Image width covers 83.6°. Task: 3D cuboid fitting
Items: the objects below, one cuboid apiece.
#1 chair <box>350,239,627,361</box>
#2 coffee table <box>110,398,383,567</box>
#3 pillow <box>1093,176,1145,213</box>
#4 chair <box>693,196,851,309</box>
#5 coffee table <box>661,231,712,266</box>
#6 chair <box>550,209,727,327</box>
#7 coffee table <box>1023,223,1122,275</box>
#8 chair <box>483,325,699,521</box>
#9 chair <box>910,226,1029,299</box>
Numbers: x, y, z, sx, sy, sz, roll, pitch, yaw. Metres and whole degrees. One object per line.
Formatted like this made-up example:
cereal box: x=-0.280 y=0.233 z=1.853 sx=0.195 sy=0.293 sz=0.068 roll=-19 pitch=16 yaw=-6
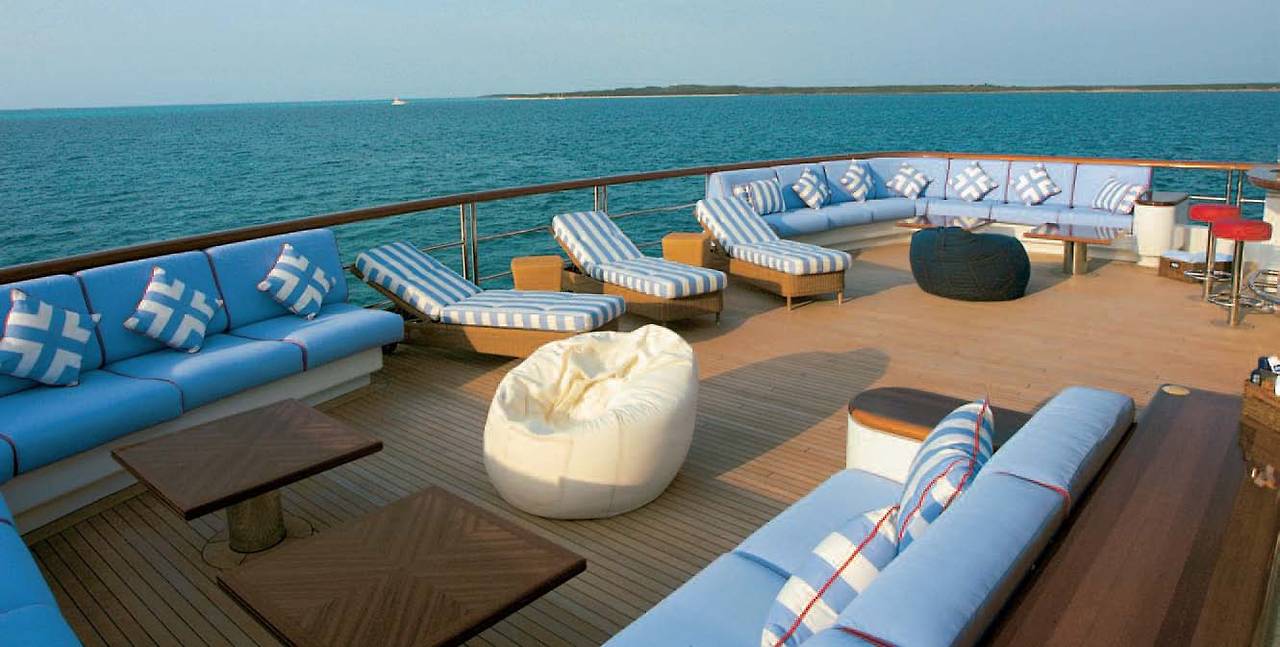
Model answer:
chair: x=-1.438 y=-0.282 z=6.907 sx=2.906 sy=0.953 sz=1.026 roll=6 pitch=24 yaw=16
coffee table: x=-2.595 y=1.144 z=4.829 sx=1.509 sy=0.595 sz=1.433 roll=-10 pitch=15 yaw=-36
pillow: x=6.191 y=-1.650 z=9.291 sx=0.437 sy=0.358 sz=0.520 roll=-15 pitch=28 yaw=-19
chair: x=1.457 y=-0.895 z=8.307 sx=0.872 sy=0.835 sz=1.773 roll=-18 pitch=30 yaw=-30
coffee table: x=0.500 y=-0.849 z=8.134 sx=0.486 sy=0.386 sz=0.470 roll=7 pitch=16 yaw=35
chair: x=-0.085 y=-0.631 z=7.670 sx=0.838 sy=0.741 sz=1.773 roll=-23 pitch=32 yaw=-38
coffee table: x=5.188 y=-0.903 z=8.554 sx=0.688 sy=0.636 sz=0.228 roll=-9 pitch=66 yaw=4
chair: x=-0.354 y=0.605 z=5.333 sx=1.357 sy=0.628 sz=1.689 roll=20 pitch=32 yaw=31
chair: x=3.752 y=-0.701 z=8.021 sx=1.025 sy=0.549 sz=1.018 roll=-22 pitch=22 yaw=-37
